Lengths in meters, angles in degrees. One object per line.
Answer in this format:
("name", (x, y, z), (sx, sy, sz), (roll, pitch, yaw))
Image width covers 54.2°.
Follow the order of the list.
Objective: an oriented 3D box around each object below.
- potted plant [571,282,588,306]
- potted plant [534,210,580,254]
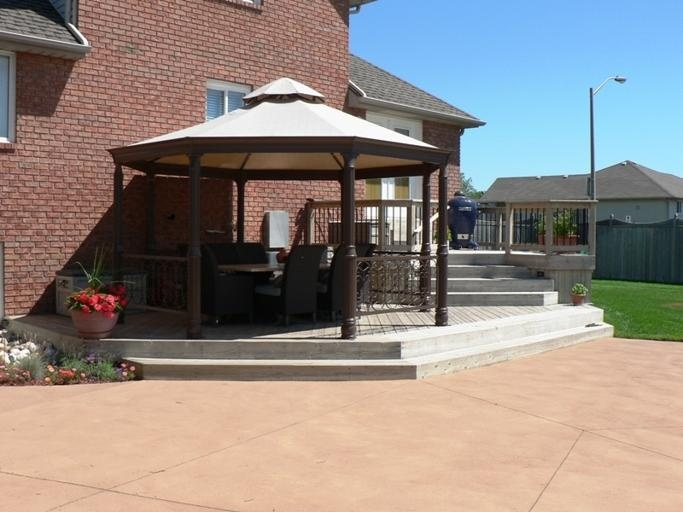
("potted plant", (5.144, 0.828, 14.396), (0.520, 0.422, 0.450), (0, 0, 25))
("potted plant", (4.721, -0.584, 15.412), (1.197, 1.123, 1.210), (-2, 0, 29))
